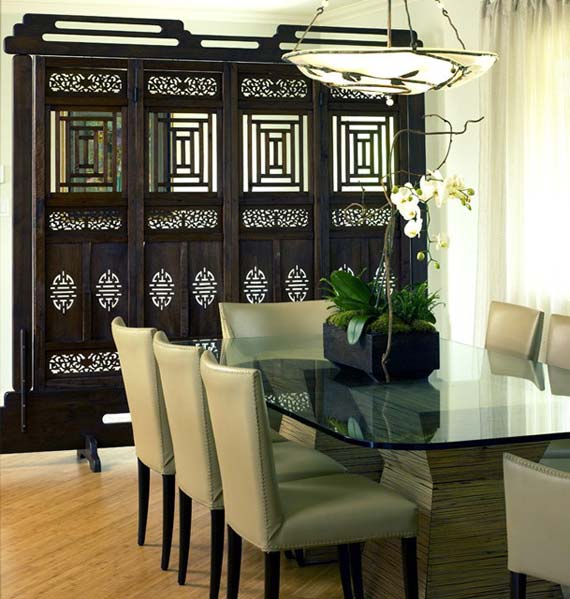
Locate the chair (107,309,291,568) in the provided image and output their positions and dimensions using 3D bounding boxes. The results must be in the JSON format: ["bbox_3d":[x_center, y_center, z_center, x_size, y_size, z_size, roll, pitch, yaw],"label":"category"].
[{"bbox_3d":[-0.365,0.507,2.382,0.402,0.779,0.377,1,-1,-25],"label":"chair"}]

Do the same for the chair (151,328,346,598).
[{"bbox_3d":[-0.161,0.414,2.463,0.672,1.307,0.657,-3,2,-18],"label":"chair"}]

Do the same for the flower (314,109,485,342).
[{"bbox_3d":[0.579,-0.443,3.486,0.742,1.774,0.632,-11,28,-20],"label":"flower"}]
